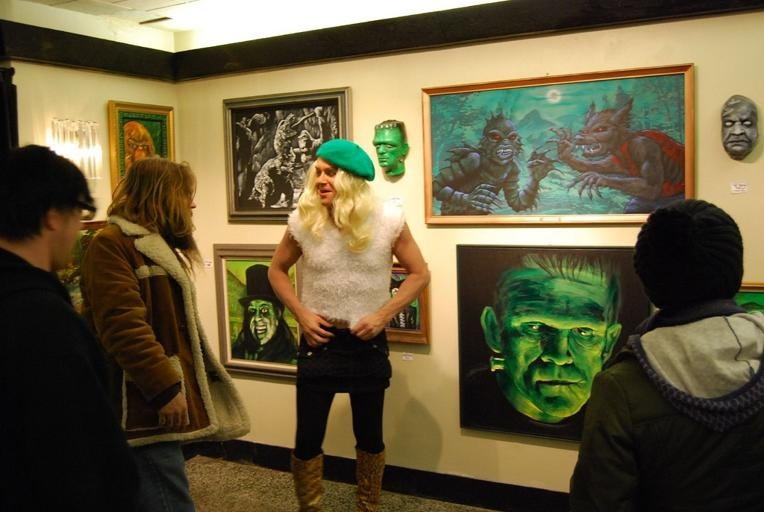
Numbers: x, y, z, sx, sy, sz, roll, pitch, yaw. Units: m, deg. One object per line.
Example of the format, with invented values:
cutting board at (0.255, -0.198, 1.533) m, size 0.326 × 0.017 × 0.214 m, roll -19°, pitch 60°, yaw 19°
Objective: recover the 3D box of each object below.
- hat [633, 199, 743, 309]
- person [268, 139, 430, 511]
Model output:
hat at (0.879, -0.015, 1.662) m, size 0.281 × 0.321 × 0.340 m, roll 0°, pitch 10°, yaw 10°
person at (-0.201, 0.429, 2.952) m, size 0.901 × 2.125 × 0.414 m, roll 0°, pitch 9°, yaw -2°
